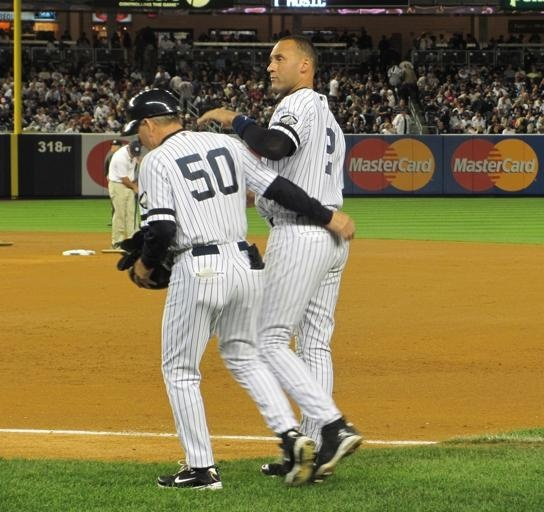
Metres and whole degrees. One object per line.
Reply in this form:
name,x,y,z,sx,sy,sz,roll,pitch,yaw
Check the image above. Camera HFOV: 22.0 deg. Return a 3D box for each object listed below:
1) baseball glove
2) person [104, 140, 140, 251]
baseball glove,-1.266,0.070,15.173,0.594,0.599,0.218,30,3,20
person,-2.572,-1.107,24.126,0.638,1.852,0.502,0,-6,13
